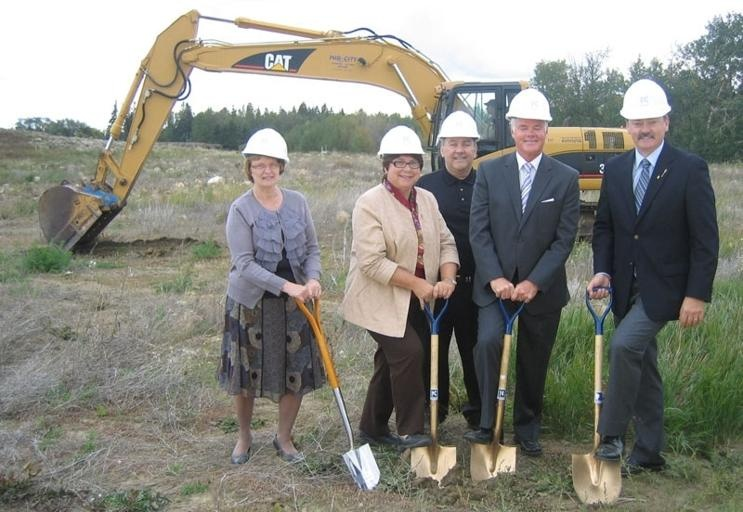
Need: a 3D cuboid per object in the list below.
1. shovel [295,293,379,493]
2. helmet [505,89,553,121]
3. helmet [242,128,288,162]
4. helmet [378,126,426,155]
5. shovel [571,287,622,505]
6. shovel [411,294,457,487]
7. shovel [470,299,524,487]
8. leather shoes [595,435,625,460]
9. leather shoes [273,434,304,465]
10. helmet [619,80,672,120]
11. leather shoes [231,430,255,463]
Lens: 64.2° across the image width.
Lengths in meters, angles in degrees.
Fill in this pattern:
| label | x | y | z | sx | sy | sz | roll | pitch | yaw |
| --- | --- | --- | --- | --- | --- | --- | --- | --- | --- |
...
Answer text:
| label | x | y | z | sx | sy | sz | roll | pitch | yaw |
| --- | --- | --- | --- | --- | --- | --- | --- | --- | --- |
| shovel | -0.248 | 1.197 | 5.464 | 0.857 | 1.633 | 0.698 | 5 | 6 | 22 |
| helmet | 1.465 | -1.382 | 5.592 | 0.299 | 0.232 | 0.397 | 5 | 5 | 2 |
| helmet | -0.964 | -1.017 | 5.361 | 0.395 | 0.305 | 0.280 | 2 | 5 | -14 |
| helmet | 0.271 | -1.075 | 5.504 | 0.399 | 0.324 | 0.335 | 3 | 5 | 0 |
| shovel | 2.049 | 1.272 | 5.199 | 0.425 | 1.708 | 0.495 | 5 | 6 | 23 |
| shovel | 0.626 | 1.206 | 5.598 | 0.412 | 1.592 | 0.768 | 4 | 5 | 6 |
| shovel | 1.199 | 1.209 | 5.409 | 0.393 | 1.610 | 0.569 | 8 | 7 | 43 |
| leather shoes | 2.102 | 1.685 | 5.195 | 0.124 | 0.182 | 0.384 | -14 | -22 | 38 |
| leather shoes | -0.788 | 1.815 | 5.627 | 0.145 | 0.117 | 0.391 | 2 | 5 | -28 |
| helmet | 2.476 | -1.427 | 5.347 | 0.328 | 0.266 | 0.430 | -1 | 20 | 26 |
| leather shoes | -1.223 | 1.816 | 5.658 | 0.116 | 0.143 | 0.339 | -5 | 12 | 8 |
